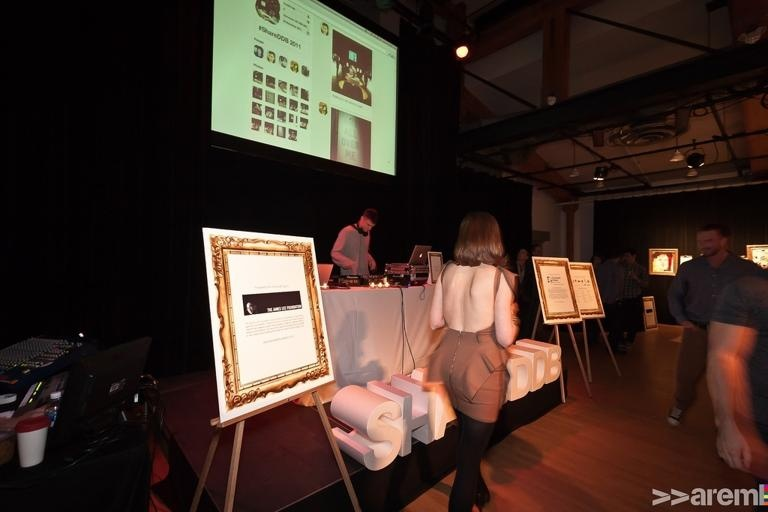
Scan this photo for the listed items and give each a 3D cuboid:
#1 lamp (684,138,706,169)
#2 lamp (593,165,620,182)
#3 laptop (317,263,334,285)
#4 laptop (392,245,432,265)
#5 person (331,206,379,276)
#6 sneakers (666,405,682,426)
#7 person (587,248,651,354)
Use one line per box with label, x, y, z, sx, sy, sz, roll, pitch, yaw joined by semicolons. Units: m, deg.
lamp;6.176;-2.054;9.106;0.489;0.705;0.332;6;11;32
lamp;5.159;-1.926;10.647;0.324;0.477;0.179;10;-4;21
laptop;-0.614;0.180;4.703;0.167;0.168;0.244;2;-1;25
laptop;0.350;-0.010;5.680;0.320;0.245;0.411;1;3;34
person;-0.410;-0.204;5.977;0.405;1.275;0.591;18;25;34
sneakers;3.154;1.750;4.977;0.123;0.206;0.067;26;-18;49
person;4.113;0.740;7.929;0.688;1.804;1.482;-4;-1;34
